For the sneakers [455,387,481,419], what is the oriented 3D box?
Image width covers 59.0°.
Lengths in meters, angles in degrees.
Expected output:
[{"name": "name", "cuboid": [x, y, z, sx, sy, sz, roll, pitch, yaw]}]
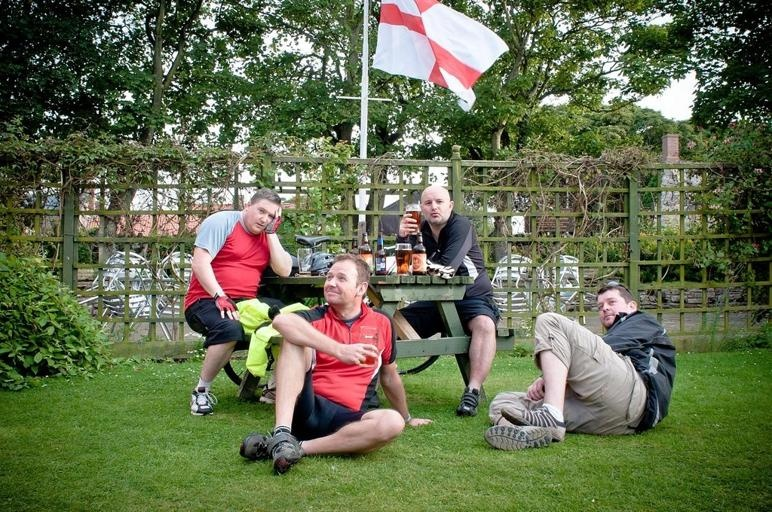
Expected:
[{"name": "sneakers", "cuboid": [0.829, 1.477, 6.942, 0.226, 0.236, 0.212, 1, 12, 2]}]

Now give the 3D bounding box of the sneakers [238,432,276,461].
[{"name": "sneakers", "cuboid": [-1.102, 1.633, 5.855, 0.294, 0.181, 0.132, -1, 14, -9]}]

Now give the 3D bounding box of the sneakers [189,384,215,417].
[{"name": "sneakers", "cuboid": [-1.845, 1.450, 6.869, 0.201, 0.234, 0.193, -2, 12, -11]}]

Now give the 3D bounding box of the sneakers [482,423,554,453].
[{"name": "sneakers", "cuboid": [1.187, 1.601, 6.163, 0.593, 0.220, 0.249, 5, -4, -4]}]

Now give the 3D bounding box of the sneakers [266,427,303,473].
[{"name": "sneakers", "cuboid": [-0.840, 1.610, 5.726, 0.290, 0.362, 0.241, -1, 12, -9]}]

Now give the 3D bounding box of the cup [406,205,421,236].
[{"name": "cup", "cuboid": [0.298, -0.405, 7.306, 0.155, 0.273, 0.302, 1, 12, 1]}]

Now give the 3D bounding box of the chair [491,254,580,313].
[{"name": "chair", "cuboid": [2.209, 0.430, 10.320, 1.377, 0.983, 1.089, 0, -2, 29]}]

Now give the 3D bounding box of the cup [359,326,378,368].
[{"name": "cup", "cuboid": [-0.143, 0.789, 5.933, 0.136, 0.358, 0.147, 0, 12, 0]}]

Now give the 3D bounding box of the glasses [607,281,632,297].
[{"name": "glasses", "cuboid": [2.283, 0.331, 6.829, 0.168, 0.142, 0.188, 0, -1, 4]}]

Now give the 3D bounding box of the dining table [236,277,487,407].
[{"name": "dining table", "cuboid": [-0.249, 1.023, 7.477, 2.178, 1.067, 2.253, 5, -14, -41]}]

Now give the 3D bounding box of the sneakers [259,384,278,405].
[{"name": "sneakers", "cuboid": [-1.242, 1.459, 7.267, 0.158, 0.198, 0.401, 2, -1, -25]}]
